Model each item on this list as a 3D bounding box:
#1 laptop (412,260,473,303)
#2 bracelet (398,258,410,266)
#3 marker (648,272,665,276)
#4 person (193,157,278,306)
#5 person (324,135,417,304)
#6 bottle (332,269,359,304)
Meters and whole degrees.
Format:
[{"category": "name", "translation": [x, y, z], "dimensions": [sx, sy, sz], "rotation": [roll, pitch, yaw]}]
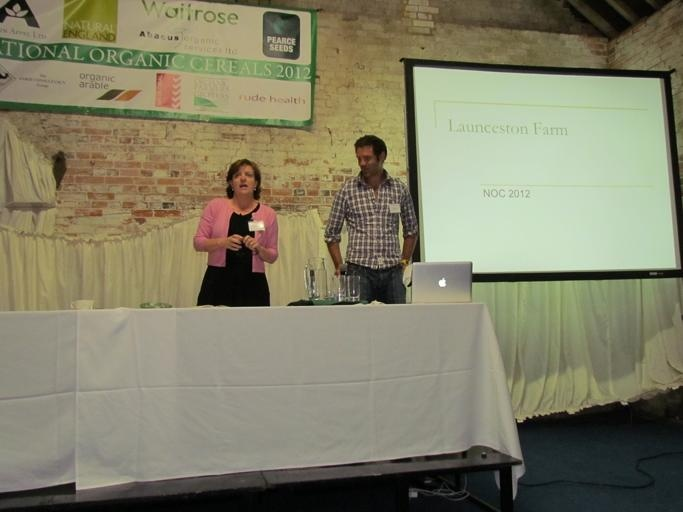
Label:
[{"category": "laptop", "translation": [0.544, 0.108, 3.977], "dimensions": [0.338, 0.250, 0.260], "rotation": [0, 16, 8]}, {"category": "bracelet", "translation": [0.452, 0.041, 5.220], "dimensions": [0.048, 0.052, 0.038], "rotation": [-4, 3, 3]}, {"category": "marker", "translation": [2.365, 0.132, 5.518], "dimensions": [0.111, 0.042, 0.017], "rotation": [2, 7, -10]}, {"category": "person", "translation": [-0.683, -0.131, 4.788], "dimensions": [0.530, 0.970, 0.780], "rotation": [4, 7, 5]}, {"category": "person", "translation": [0.219, -0.272, 5.246], "dimensions": [0.668, 1.142, 0.427], "rotation": [4, 7, 4]}, {"category": "bottle", "translation": [0.026, 0.178, 3.946], "dimensions": [0.132, 0.157, 0.137], "rotation": [1, -1, -20]}]
